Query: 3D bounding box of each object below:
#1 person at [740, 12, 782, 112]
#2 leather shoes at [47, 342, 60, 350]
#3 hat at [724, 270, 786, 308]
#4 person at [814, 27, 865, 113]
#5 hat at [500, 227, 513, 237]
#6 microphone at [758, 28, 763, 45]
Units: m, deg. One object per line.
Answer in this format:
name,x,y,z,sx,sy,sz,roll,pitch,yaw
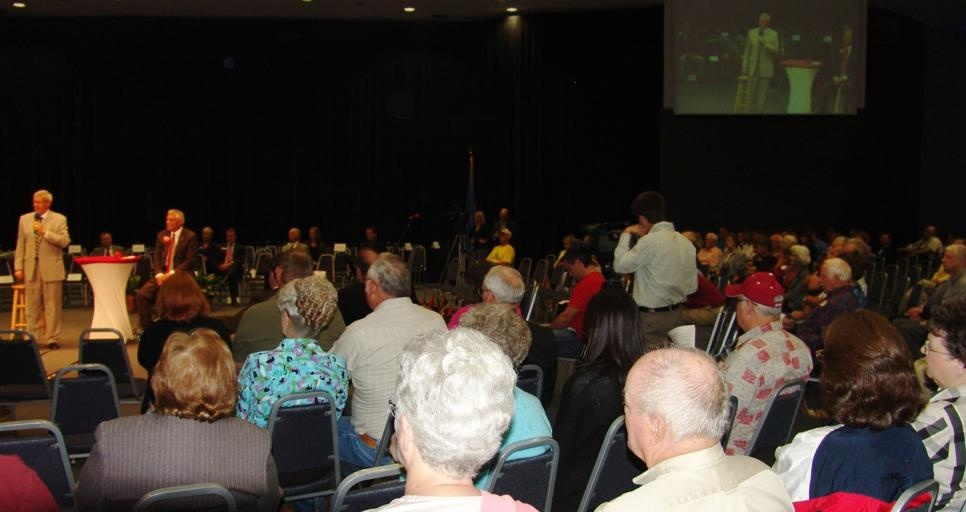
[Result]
person,5.804,-4.082,14.113,0.828,1.980,0.256,-2,4,-11
leather shoes,-7.243,1.526,11.344,0.109,0.101,0.187,3,-7,-35
hat,2.991,0.309,7.385,0.423,0.327,0.629,-14,28,-43
person,7.710,-3.980,14.316,1.063,1.787,0.293,-2,4,-11
hat,0.506,-0.519,14.282,0.296,0.146,0.189,12,-11,-37
microphone,5.772,-4.616,14.039,0.135,0.291,0.022,-1,4,4
